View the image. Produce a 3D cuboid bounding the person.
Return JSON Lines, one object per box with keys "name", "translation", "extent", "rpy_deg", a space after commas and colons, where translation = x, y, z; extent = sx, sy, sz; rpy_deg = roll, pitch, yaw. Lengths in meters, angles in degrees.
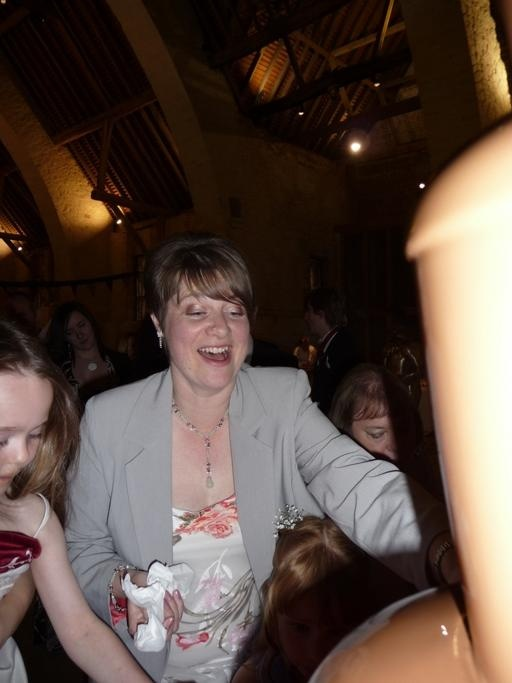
{"name": "person", "translation": [-0.037, 0.306, 1.453], "extent": [1.053, 1.353, 0.584], "rpy_deg": [-6, -3, 28]}
